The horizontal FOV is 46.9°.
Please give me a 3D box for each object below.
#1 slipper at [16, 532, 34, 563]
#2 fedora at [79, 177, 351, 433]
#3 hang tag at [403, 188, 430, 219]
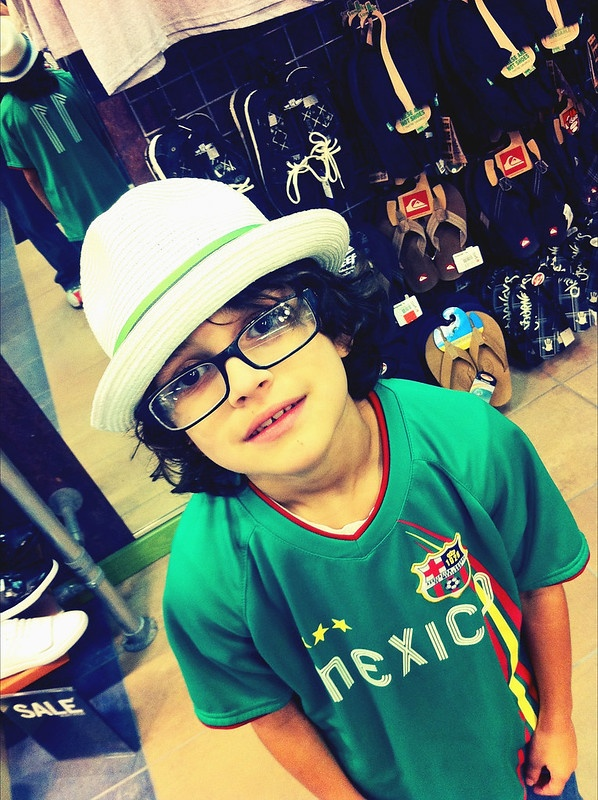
[{"bbox_3d":[-0.776,0.421,1.960,0.039,0.083,0.019,-4,-3,-36],"label":"slipper"},{"bbox_3d":[-0.131,-0.214,1.053,0.343,0.211,0.399,-6,34,51],"label":"fedora"},{"bbox_3d":[0.426,-0.723,2.526,0.080,0.076,0.012,-24,14,16],"label":"hang tag"}]
